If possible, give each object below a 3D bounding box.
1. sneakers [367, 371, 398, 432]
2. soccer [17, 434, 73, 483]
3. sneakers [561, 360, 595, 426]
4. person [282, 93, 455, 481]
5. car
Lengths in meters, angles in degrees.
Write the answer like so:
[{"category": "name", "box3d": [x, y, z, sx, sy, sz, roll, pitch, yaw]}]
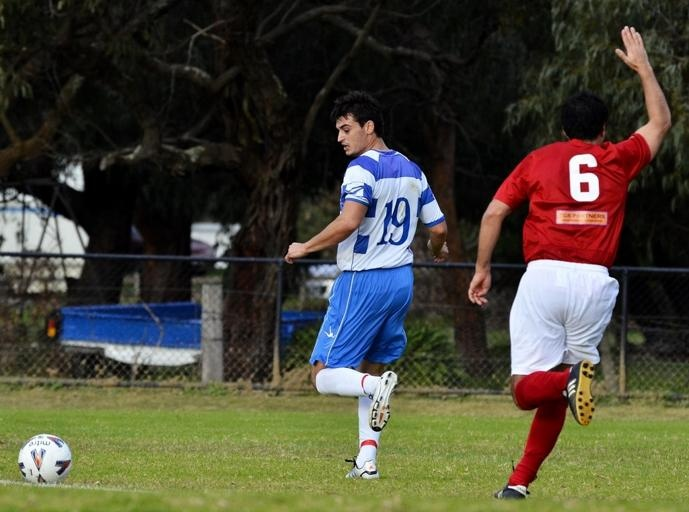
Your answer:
[{"category": "sneakers", "box3d": [0.389, 1.481, 13.950, 0.215, 0.667, 0.288, 16, -12, -33]}, {"category": "soccer", "box3d": [-2.973, 2.029, 13.775, 0.423, 0.496, 0.445, -1, -17, -24]}, {"category": "sneakers", "box3d": [2.265, 1.324, 13.390, 0.222, 0.659, 0.287, -2, -6, -27]}, {"category": "person", "box3d": [0.206, 0.280, 14.183, 1.353, 3.948, 0.718, 3, -2, -10]}, {"category": "car", "box3d": [-2.290, -0.202, 20.265, 1.433, 0.912, 5.462, 4, -2, -5]}]
